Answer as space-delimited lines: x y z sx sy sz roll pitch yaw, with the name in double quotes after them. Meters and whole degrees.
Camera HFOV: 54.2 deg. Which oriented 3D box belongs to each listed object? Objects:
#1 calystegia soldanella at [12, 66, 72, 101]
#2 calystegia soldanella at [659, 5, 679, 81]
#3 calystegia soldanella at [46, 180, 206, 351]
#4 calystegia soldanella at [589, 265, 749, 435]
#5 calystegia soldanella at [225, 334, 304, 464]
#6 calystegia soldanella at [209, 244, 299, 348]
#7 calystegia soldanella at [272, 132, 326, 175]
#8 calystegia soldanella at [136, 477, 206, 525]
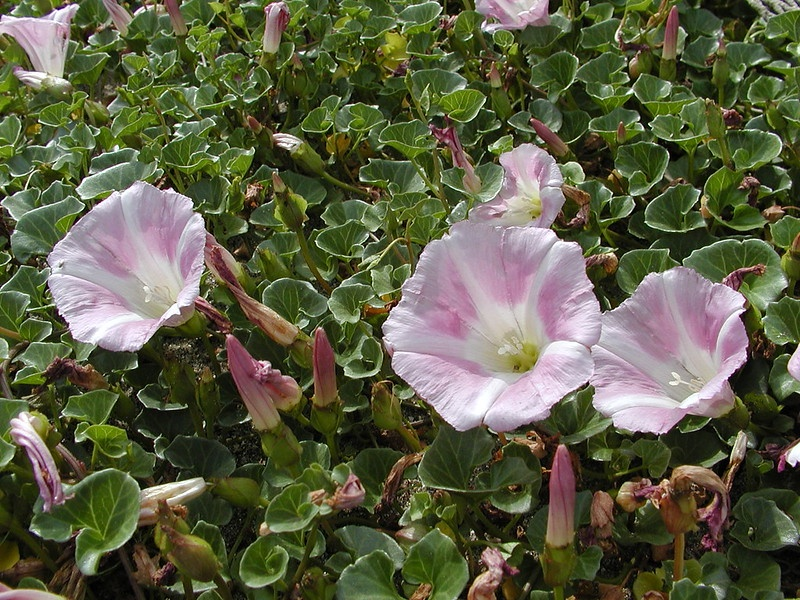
-1.867 -1.141 4.118 0.342 0.145 0.132 7 10 24 "calystegia soldanella"
1.299 -1.236 3.811 0.081 0.367 0.217 0 33 19 "calystegia soldanella"
-0.998 -0.108 2.924 0.580 0.441 0.634 -28 35 -22 "calystegia soldanella"
0.912 0.184 2.687 0.501 0.378 0.478 -2 34 19 "calystegia soldanella"
-0.471 0.351 2.687 0.110 0.504 0.171 -25 32 -21 "calystegia soldanella"
-0.584 -0.013 3.177 0.470 0.109 0.114 46 37 8 "calystegia soldanella"
-0.465 -0.668 3.671 0.117 0.328 0.113 -31 68 9 "calystegia soldanella"
-0.797 0.683 2.778 0.290 0.113 0.094 -15 32 -42 "calystegia soldanella"
